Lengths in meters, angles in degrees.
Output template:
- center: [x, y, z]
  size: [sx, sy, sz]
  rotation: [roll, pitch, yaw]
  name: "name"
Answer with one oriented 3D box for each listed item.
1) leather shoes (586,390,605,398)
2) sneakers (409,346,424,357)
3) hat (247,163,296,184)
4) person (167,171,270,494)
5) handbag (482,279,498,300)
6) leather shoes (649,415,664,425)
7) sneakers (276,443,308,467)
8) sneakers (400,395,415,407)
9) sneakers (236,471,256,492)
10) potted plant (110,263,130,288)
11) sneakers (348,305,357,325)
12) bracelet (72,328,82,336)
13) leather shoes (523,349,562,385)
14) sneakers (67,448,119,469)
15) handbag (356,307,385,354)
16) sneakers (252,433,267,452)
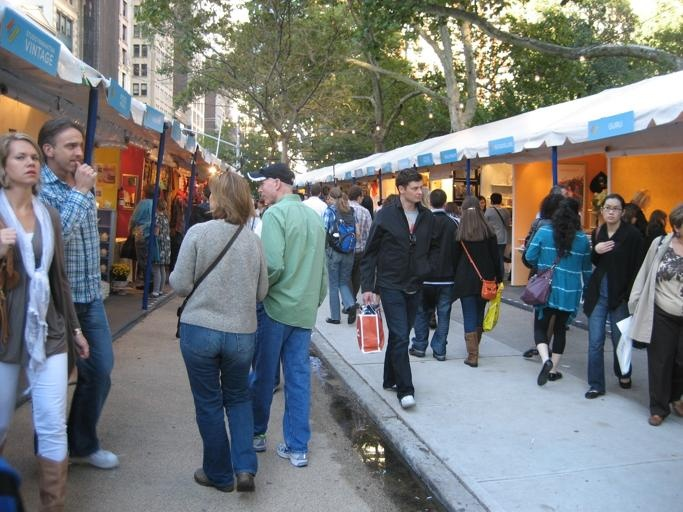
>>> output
- center: [2.686, 1.440, 5.912]
  size: [0.212, 0.089, 0.088]
  rotation: [4, -7, -21]
  name: "leather shoes"
- center: [1.010, 1.289, 7.578]
  size: [0.089, 0.106, 0.222]
  rotation: [-3, 13, -37]
  name: "sneakers"
- center: [-0.563, -0.690, 4.593]
  size: [0.303, 0.124, 0.194]
  rotation: [2, 3, -4]
  name: "hat"
- center: [-0.876, 0.559, 3.938]
  size: [0.660, 2.303, 0.519]
  rotation: [0, 7, -4]
  name: "person"
- center: [1.812, 0.404, 6.856]
  size: [0.232, 0.235, 0.104]
  rotation: [3, -7, -21]
  name: "handbag"
- center: [2.931, 1.520, 5.189]
  size: [0.064, 0.140, 0.172]
  rotation: [-1, -16, 8]
  name: "leather shoes"
- center: [-0.407, 1.632, 4.626]
  size: [0.109, 0.133, 0.292]
  rotation: [-1, 13, -43]
  name: "sneakers"
- center: [0.656, 1.437, 5.563]
  size: [0.150, 0.145, 0.149]
  rotation: [2, 6, 6]
  name: "sneakers"
- center: [-0.671, 1.569, 3.862]
  size: [0.117, 0.144, 0.108]
  rotation: [-1, 7, -15]
  name: "sneakers"
- center: [-4.462, 0.391, 11.174]
  size: [0.463, 0.550, 0.410]
  rotation: [2, -3, -10]
  name: "potted plant"
- center: [0.164, 0.943, 9.137]
  size: [0.113, 0.350, 0.146]
  rotation: [1, 44, -10]
  name: "sneakers"
- center: [-1.788, 0.503, 3.760]
  size: [0.058, 0.042, 0.058]
  rotation: [-5, -8, 43]
  name: "bracelet"
- center: [2.353, 1.376, 6.417]
  size: [0.211, 0.264, 0.627]
  rotation: [7, -34, 12]
  name: "leather shoes"
- center: [-1.903, 1.515, 4.296]
  size: [0.370, 0.161, 0.138]
  rotation: [-2, 6, -6]
  name: "sneakers"
- center: [0.286, 0.736, 5.650]
  size: [0.267, 0.507, 0.281]
  rotation: [1, 7, 2]
  name: "handbag"
- center: [-0.698, 1.561, 4.697]
  size: [0.072, 0.094, 0.199]
  rotation: [0, 6, -7]
  name: "sneakers"
